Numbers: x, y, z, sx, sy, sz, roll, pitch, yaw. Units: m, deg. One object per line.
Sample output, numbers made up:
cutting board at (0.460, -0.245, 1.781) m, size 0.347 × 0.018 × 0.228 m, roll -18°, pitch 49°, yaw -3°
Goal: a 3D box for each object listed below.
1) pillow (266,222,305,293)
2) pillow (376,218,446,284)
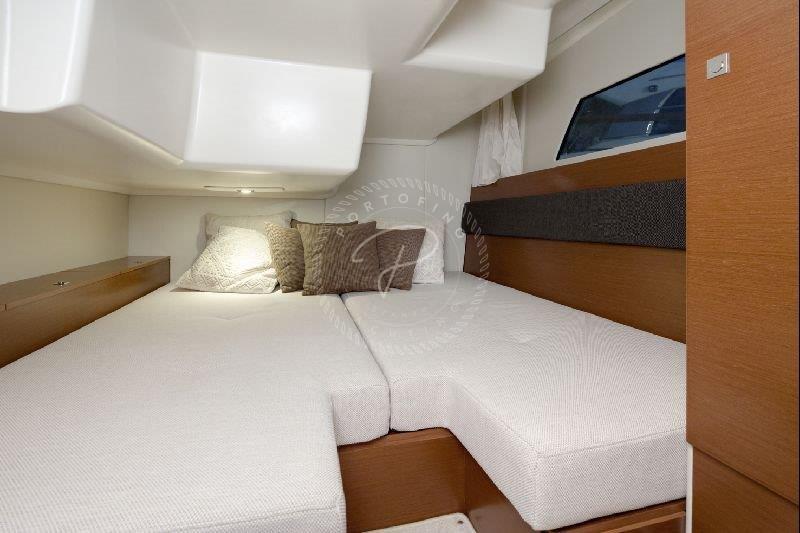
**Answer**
pillow at (-0.736, -0.044, 3.220) m, size 0.114 × 0.347 × 0.385 m, roll -19°, pitch -14°, yaw 22°
pillow at (0.103, -0.122, 3.572) m, size 0.479 × 0.485 × 0.159 m, roll 2°, pitch -30°, yaw 7°
